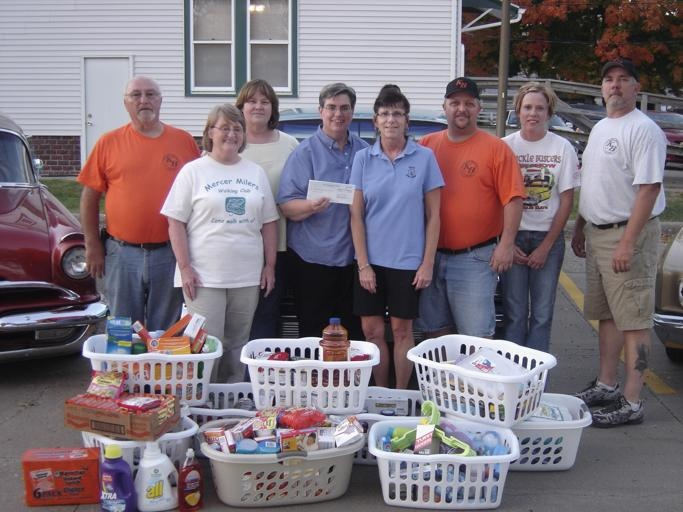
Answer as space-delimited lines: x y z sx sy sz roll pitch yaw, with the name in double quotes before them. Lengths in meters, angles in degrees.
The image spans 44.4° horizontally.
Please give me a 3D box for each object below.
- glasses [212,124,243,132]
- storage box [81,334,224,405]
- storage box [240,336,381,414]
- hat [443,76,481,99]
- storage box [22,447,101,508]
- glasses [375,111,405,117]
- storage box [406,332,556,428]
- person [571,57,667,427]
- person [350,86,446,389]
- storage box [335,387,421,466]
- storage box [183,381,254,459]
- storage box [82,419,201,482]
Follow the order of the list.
"glasses" -0.820 -0.937 6.157 0.104 0.030 0.101 3 -7 -19
"storage box" -1.328 0.803 5.819 0.762 0.335 0.525 4 -6 -2
"storage box" -0.194 0.865 5.963 0.905 0.367 0.576 1 5 2
"hat" 0.935 -1.285 6.428 0.257 0.162 0.178 -1 14 1
"storage box" -1.834 1.468 5.520 0.603 0.404 0.322 0 3 -8
"glasses" 0.380 -1.051 6.225 0.198 0.046 0.051 0 15 6
"storage box" 0.951 0.783 5.858 0.835 0.372 0.664 5 10 38
"person" 2.179 -0.131 6.576 0.634 2.738 1.074 3 15 17
"person" 0.430 -0.103 6.362 0.705 2.299 0.471 0 15 5
"storage box" 0.246 1.187 5.777 0.514 0.242 0.704 1 9 2
"storage box" -0.828 1.147 5.895 0.386 0.232 0.546 0 2 -1
"storage box" -1.279 1.265 5.622 0.541 0.187 0.403 -1 3 -29
